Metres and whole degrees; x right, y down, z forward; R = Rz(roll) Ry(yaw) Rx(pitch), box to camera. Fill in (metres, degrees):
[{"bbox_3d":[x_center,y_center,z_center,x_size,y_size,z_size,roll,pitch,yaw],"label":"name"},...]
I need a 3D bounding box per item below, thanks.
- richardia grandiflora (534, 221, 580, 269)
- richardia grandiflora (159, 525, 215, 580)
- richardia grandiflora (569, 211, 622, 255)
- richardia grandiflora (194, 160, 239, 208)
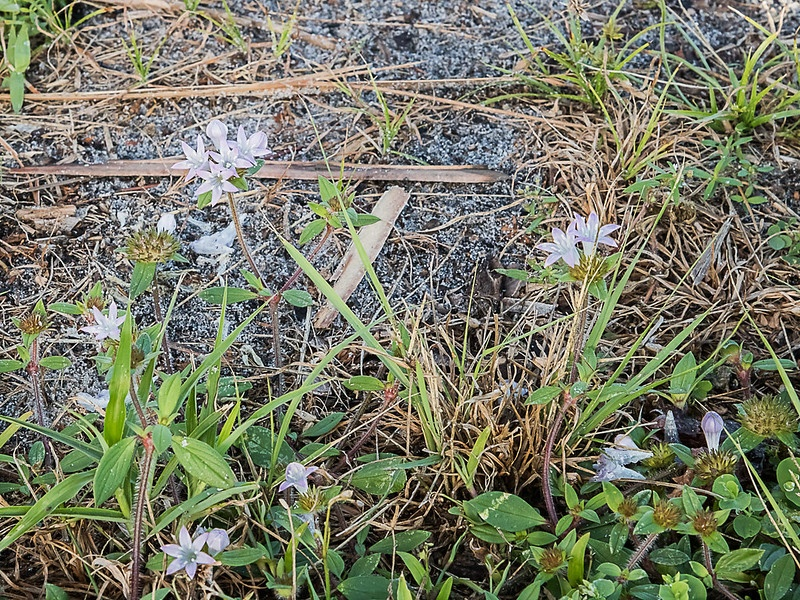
[{"bbox_3d":[0.580,-0.182,2.517,0.162,0.060,0.154,-28,75,6],"label":"richardia grandiflora"},{"bbox_3d":[-0.681,0.832,2.323,0.171,0.207,0.056,9,92,17],"label":"richardia grandiflora"},{"bbox_3d":[0.671,-0.226,2.434,0.145,0.191,0.150,6,52,-1],"label":"richardia grandiflora"},{"bbox_3d":[-0.674,-0.432,2.646,0.153,0.048,0.160,-30,83,-11],"label":"richardia grandiflora"}]
